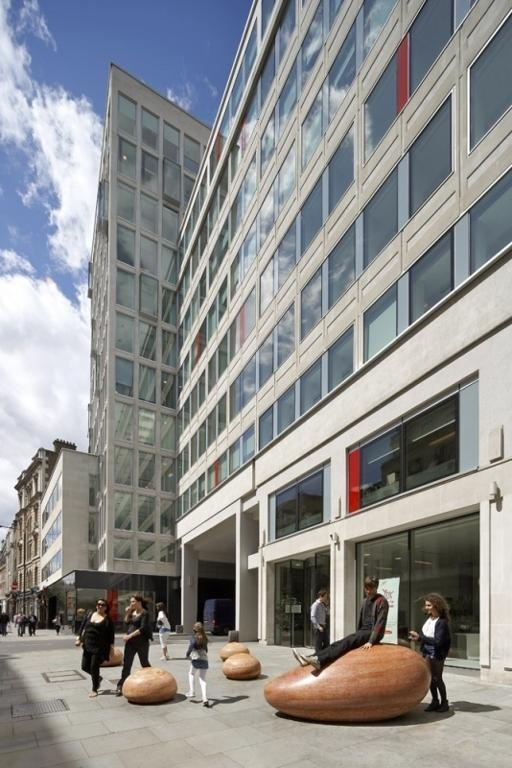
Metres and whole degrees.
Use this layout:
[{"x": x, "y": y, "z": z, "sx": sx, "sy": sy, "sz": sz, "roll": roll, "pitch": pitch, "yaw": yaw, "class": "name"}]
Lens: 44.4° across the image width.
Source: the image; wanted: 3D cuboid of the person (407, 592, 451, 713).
[{"x": 2.265, "y": 3.413, "z": 8.003, "sx": 0.444, "sy": 1.408, "sz": 1.359, "roll": -4, "pitch": -19, "yaw": 16, "class": "person"}]

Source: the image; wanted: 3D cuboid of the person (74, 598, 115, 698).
[{"x": -2.614, "y": 4.221, "z": 9.995, "sx": 0.549, "sy": 1.458, "sz": 0.897, "roll": 5, "pitch": -18, "yaw": -15, "class": "person"}]

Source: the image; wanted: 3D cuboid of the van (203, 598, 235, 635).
[{"x": -2.342, "y": 14.367, "z": 38.613, "sx": 1.704, "sy": 2.138, "sz": 2.646, "roll": 10, "pitch": -22, "yaw": -26, "class": "van"}]

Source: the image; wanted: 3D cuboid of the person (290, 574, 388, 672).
[{"x": 1.178, "y": 3.063, "z": 7.982, "sx": 1.304, "sy": 1.062, "sz": 0.801, "roll": -10, "pitch": -10, "yaw": -28, "class": "person"}]

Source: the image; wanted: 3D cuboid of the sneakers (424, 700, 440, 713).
[{"x": 2.224, "y": 4.054, "z": 7.861, "sx": 0.087, "sy": 0.124, "sz": 0.251, "roll": -26, "pitch": -34, "yaw": 37, "class": "sneakers"}]

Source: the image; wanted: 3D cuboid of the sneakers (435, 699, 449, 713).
[{"x": 2.321, "y": 4.007, "z": 7.793, "sx": 0.148, "sy": 0.130, "sz": 0.251, "roll": -7, "pitch": -22, "yaw": 22, "class": "sneakers"}]

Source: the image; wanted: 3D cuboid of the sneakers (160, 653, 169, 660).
[{"x": -2.608, "y": 7.647, "z": 17.574, "sx": 0.177, "sy": 0.296, "sz": 0.598, "roll": 4, "pitch": -21, "yaw": -11, "class": "sneakers"}]

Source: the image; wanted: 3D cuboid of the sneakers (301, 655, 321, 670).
[{"x": 0.654, "y": 3.428, "z": 7.672, "sx": 0.165, "sy": 0.155, "sz": 0.385, "roll": 14, "pitch": -25, "yaw": -33, "class": "sneakers"}]
